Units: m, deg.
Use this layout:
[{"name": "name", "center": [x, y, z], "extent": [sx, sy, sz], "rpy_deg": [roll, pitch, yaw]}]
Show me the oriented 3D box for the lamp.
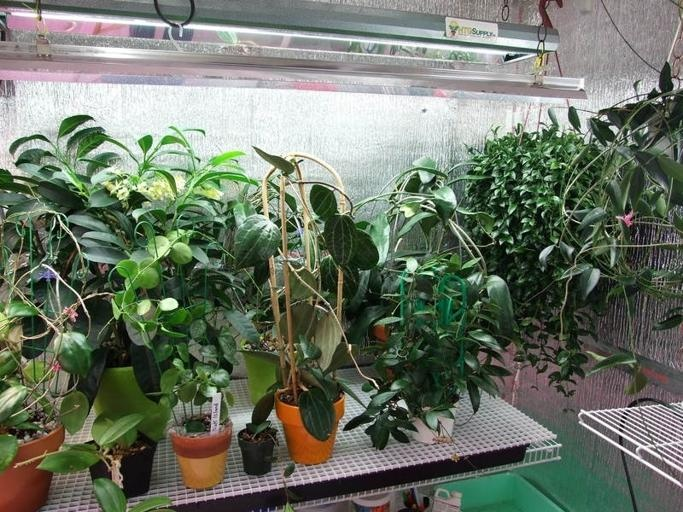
[{"name": "lamp", "center": [-0.117, -0.695, 1.551], "extent": [1.803, 0.286, 0.398], "rpy_deg": [-3, 11, -13]}]
